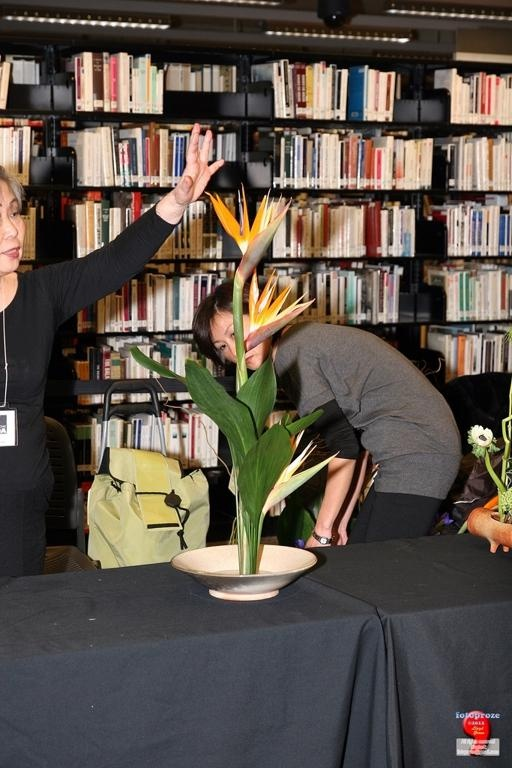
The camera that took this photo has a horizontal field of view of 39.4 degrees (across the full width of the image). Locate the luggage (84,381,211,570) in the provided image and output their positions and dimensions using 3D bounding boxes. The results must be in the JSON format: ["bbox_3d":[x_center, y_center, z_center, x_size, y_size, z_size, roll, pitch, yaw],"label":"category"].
[{"bbox_3d":[-0.317,0.272,2.134,0.344,0.513,0.267,-2,9,-33],"label":"luggage"}]

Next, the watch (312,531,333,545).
[{"bbox_3d":[0.172,0.414,1.893,0.038,0.026,0.050,8,-26,25],"label":"watch"}]

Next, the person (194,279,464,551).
[{"bbox_3d":[0.251,0.245,2.006,0.754,1.167,0.351,-3,24,5],"label":"person"}]
